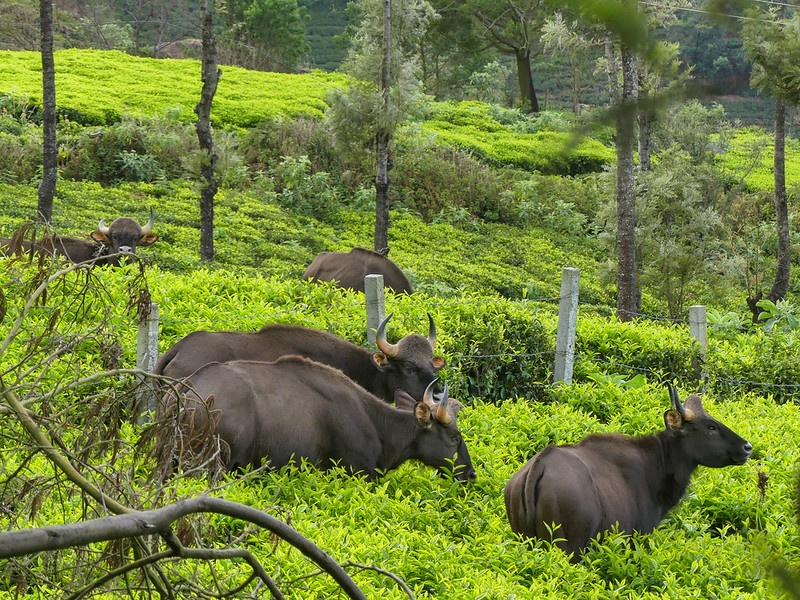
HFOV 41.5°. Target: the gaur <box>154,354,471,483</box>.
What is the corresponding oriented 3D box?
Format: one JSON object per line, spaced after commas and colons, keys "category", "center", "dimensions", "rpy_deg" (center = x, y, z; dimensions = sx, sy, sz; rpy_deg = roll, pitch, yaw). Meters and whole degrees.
{"category": "gaur", "center": [-0.758, 1.484, 10.129], "dimensions": [2.899, 1.757, 0.993], "rpy_deg": [3, -14, -19]}
